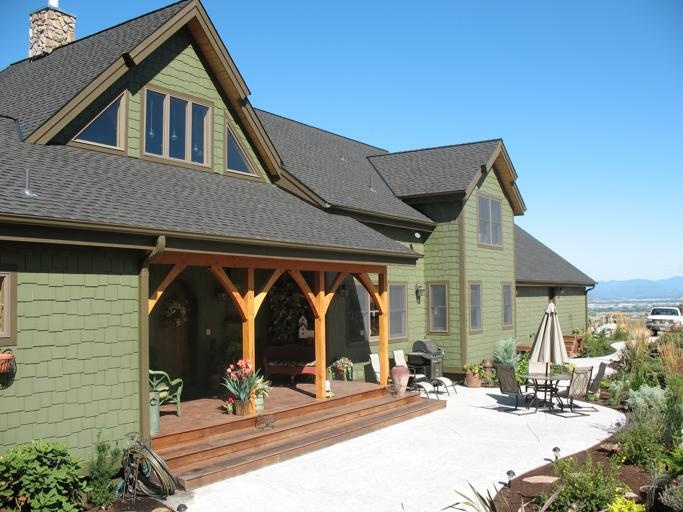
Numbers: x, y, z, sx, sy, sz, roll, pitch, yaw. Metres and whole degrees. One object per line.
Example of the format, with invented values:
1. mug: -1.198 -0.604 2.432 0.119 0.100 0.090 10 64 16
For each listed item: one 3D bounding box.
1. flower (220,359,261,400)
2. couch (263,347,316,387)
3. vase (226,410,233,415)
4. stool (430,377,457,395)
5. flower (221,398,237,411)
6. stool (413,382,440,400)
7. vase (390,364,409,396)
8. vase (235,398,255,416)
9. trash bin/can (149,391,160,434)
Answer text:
1. flower: -2.221 2.734 11.853 0.999 0.986 0.952 -7 -9 36
2. couch: -1.563 3.133 15.443 2.214 1.348 0.956 -1 -11 4
3. vase: -2.460 3.448 11.472 0.091 0.061 0.088 -1 -6 12
4. stool: 3.341 4.271 17.098 0.731 0.375 0.709 -2 -2 29
5. flower: -2.509 3.373 11.702 0.398 0.378 0.397 1 -12 -7
6. stool: 2.666 4.190 16.369 0.522 0.252 0.979 -1 -2 -29
7. vase: 1.614 3.533 14.753 0.455 0.828 0.424 4 3 3
8. vase: -2.114 3.321 11.434 0.365 0.244 0.368 -4 -6 39
9. trash bin/can: -3.556 2.996 9.919 0.186 0.741 0.333 2 4 -20
